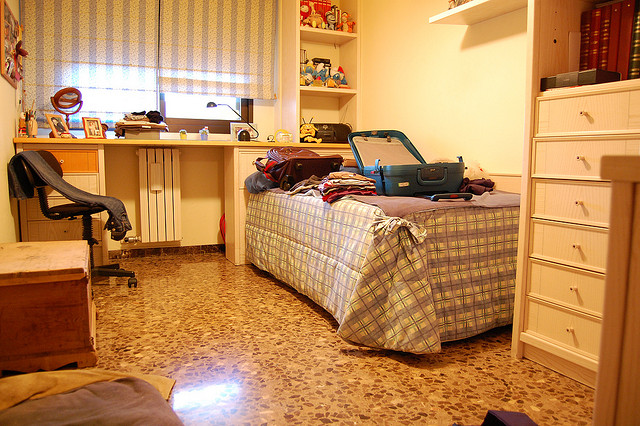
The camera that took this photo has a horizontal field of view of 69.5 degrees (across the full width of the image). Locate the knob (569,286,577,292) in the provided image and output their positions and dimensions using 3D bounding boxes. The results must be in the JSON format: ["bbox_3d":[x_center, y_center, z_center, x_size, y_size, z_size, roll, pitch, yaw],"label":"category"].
[{"bbox_3d":[1.211,0.360,2.196,0.024,0.019,0.023,13,-14,-19],"label":"knob"}]

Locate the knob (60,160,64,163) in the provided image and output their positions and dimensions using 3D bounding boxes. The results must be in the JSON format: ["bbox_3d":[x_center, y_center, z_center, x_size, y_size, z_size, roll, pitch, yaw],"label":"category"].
[{"bbox_3d":[-1.980,-0.398,3.534,0.016,0.015,0.018,34,-30,-6],"label":"knob"}]

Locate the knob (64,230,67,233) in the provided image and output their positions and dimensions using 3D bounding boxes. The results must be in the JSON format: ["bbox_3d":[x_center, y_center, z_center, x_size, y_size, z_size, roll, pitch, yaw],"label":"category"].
[{"bbox_3d":[-1.964,0.138,3.547,0.020,0.017,0.005,-1,10,-22],"label":"knob"}]

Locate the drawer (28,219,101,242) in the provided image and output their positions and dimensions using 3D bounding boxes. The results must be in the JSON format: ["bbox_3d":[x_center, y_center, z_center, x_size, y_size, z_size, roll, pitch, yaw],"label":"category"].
[{"bbox_3d":[-2.026,0.129,3.521,0.367,0.156,0.052,-3,15,-13],"label":"drawer"}]

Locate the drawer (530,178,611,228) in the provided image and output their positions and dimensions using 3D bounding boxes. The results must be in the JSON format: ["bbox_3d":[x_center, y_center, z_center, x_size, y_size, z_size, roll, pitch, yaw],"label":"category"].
[{"bbox_3d":[1.201,-0.056,2.194,0.330,0.180,0.322,-2,6,-32],"label":"drawer"}]

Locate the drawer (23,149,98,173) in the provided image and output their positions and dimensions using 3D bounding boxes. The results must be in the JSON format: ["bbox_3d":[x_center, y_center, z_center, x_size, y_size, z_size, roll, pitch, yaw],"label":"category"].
[{"bbox_3d":[-1.892,-0.410,3.578,0.383,0.210,0.206,-4,10,-40],"label":"drawer"}]

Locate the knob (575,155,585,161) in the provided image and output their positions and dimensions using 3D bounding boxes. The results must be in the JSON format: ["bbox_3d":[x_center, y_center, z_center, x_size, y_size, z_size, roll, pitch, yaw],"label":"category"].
[{"bbox_3d":[1.223,-0.260,2.161,0.032,0.018,0.041,2,4,39],"label":"knob"}]

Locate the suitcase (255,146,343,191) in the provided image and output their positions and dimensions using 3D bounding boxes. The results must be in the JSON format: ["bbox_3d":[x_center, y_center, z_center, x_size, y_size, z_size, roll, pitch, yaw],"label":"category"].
[{"bbox_3d":[-0.171,-0.355,3.768,0.671,0.255,0.650,-1,11,-27],"label":"suitcase"}]

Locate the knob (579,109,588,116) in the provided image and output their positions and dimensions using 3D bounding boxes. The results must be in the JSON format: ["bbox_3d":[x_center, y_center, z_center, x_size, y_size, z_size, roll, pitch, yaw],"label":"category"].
[{"bbox_3d":[1.232,-0.471,2.151,0.033,0.029,0.011,3,-10,32],"label":"knob"}]

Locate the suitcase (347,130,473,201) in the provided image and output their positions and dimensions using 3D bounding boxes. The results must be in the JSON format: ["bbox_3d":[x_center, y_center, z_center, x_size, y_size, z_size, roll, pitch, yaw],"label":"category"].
[{"bbox_3d":[0.600,-0.334,3.066,0.681,0.410,0.903,-6,12,-21],"label":"suitcase"}]

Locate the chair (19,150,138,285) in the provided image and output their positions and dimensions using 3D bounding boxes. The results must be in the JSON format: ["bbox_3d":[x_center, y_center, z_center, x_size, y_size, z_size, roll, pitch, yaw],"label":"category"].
[{"bbox_3d":[-1.744,0.046,3.557,0.806,0.980,0.759,1,-4,10],"label":"chair"}]

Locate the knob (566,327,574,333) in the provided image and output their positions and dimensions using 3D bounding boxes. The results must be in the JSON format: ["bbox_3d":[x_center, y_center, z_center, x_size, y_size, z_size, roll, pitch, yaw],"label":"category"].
[{"bbox_3d":[1.201,0.560,2.212,0.027,0.025,0.023,5,24,4],"label":"knob"}]

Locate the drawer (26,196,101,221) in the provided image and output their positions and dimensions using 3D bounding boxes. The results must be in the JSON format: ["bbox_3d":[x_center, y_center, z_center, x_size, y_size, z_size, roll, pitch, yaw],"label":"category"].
[{"bbox_3d":[-1.975,-0.039,3.536,0.480,0.190,0.136,-7,16,-29],"label":"drawer"}]

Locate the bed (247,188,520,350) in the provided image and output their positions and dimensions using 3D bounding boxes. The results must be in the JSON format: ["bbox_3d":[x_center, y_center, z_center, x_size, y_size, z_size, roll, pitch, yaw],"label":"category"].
[{"bbox_3d":[0.392,0.257,3.420,2.113,0.571,1.812,12,4,44],"label":"bed"}]

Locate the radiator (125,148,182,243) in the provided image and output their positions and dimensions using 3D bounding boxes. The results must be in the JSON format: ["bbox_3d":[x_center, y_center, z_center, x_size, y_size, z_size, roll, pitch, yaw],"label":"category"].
[{"bbox_3d":[-1.424,-0.164,4.094,0.382,0.821,0.174,-4,16,-15],"label":"radiator"}]

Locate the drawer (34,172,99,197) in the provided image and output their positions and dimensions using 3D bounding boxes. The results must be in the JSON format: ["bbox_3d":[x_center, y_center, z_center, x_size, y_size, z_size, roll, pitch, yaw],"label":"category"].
[{"bbox_3d":[-1.852,-0.247,3.499,0.395,0.229,0.218,-3,8,-30],"label":"drawer"}]
